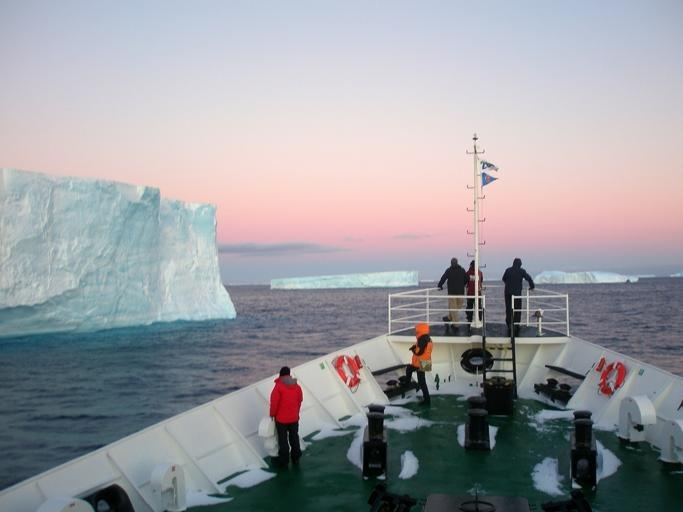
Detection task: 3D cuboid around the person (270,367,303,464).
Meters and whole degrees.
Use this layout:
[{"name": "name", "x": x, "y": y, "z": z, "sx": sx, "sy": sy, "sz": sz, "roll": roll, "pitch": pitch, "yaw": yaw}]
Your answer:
[{"name": "person", "x": -1.203, "y": 3.578, "z": 16.111, "sx": 0.517, "sy": 2.186, "sz": 0.602, "roll": 2, "pitch": 11, "yaw": 25}]

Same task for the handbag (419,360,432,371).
[{"name": "handbag", "x": 2.097, "y": 2.831, "z": 18.588, "sx": 0.353, "sy": 0.274, "sz": 0.138, "roll": 0, "pitch": -5, "yaw": 3}]

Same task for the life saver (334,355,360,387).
[{"name": "life saver", "x": 0.137, "y": 2.950, "z": 18.985, "sx": 0.634, "sy": 0.275, "sz": 0.793, "roll": 20, "pitch": 22, "yaw": 2}]

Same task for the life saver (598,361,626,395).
[{"name": "life saver", "x": 6.639, "y": 3.066, "z": 18.021, "sx": 0.204, "sy": 0.754, "sz": 0.740, "roll": 36, "pitch": 22, "yaw": -28}]
